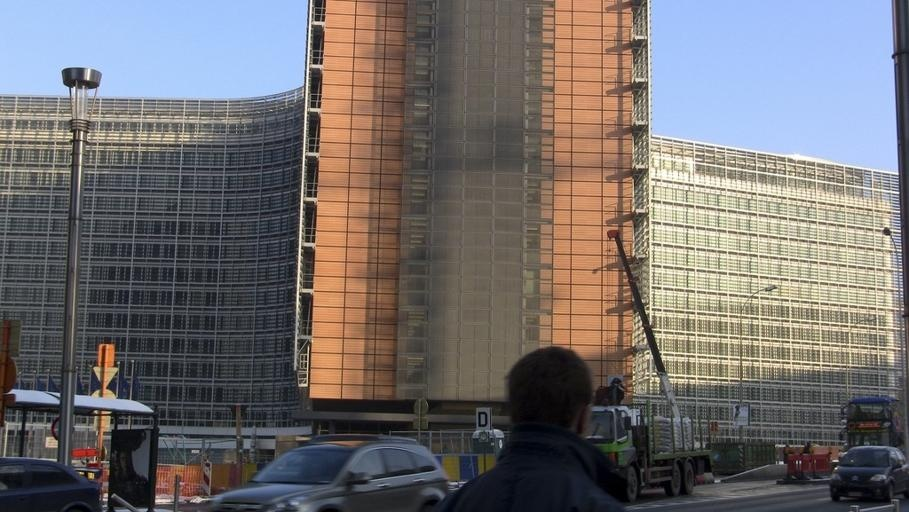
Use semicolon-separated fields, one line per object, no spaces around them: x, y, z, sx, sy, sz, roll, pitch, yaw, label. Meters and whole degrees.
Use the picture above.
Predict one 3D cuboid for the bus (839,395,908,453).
48.684;19.248;232.825;4.151;3.942;9.873;-6;-17;26;bus
